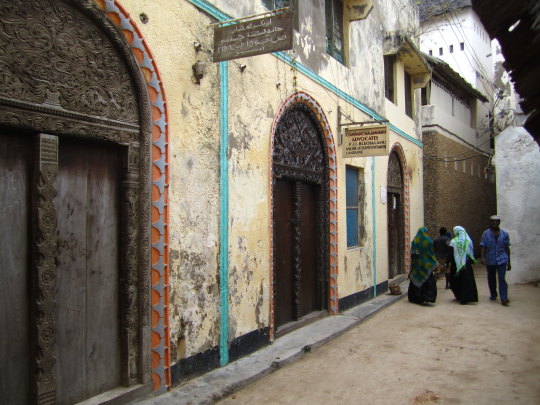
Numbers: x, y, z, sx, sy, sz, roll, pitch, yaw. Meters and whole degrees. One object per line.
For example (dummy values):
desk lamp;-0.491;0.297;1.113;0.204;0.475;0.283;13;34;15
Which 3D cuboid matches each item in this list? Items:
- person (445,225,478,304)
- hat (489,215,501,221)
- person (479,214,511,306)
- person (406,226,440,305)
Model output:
person;4.501;1.460;12.289;0.630;1.665;0.958;0;3;20
hat;6.061;0.398;14.192;0.221;0.145;0.353;-2;-10;19
person;5.255;1.296;12.091;0.526;1.942;0.926;-1;3;-9
person;3.554;1.455;12.304;0.576;1.705;0.867;-1;3;-11
